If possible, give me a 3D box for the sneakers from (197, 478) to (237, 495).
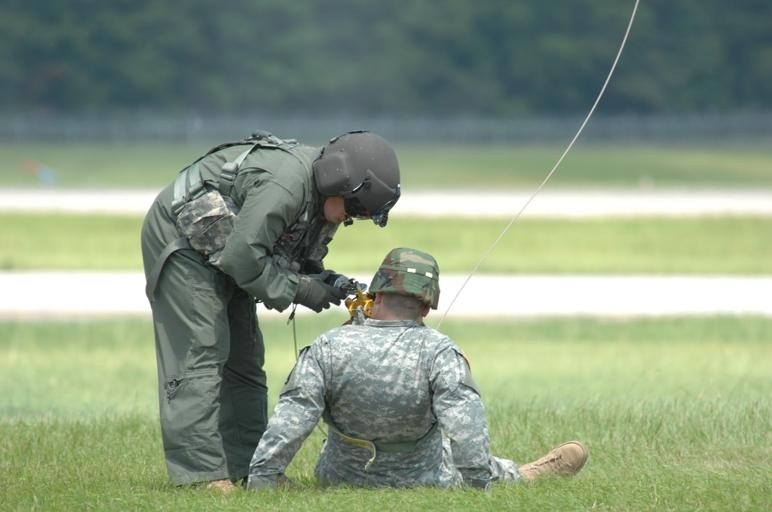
[{"bbox_3d":[-2.664,3.659,30.735,0.432,0.182,0.241,-2,-3,6],"label":"sneakers"}]
